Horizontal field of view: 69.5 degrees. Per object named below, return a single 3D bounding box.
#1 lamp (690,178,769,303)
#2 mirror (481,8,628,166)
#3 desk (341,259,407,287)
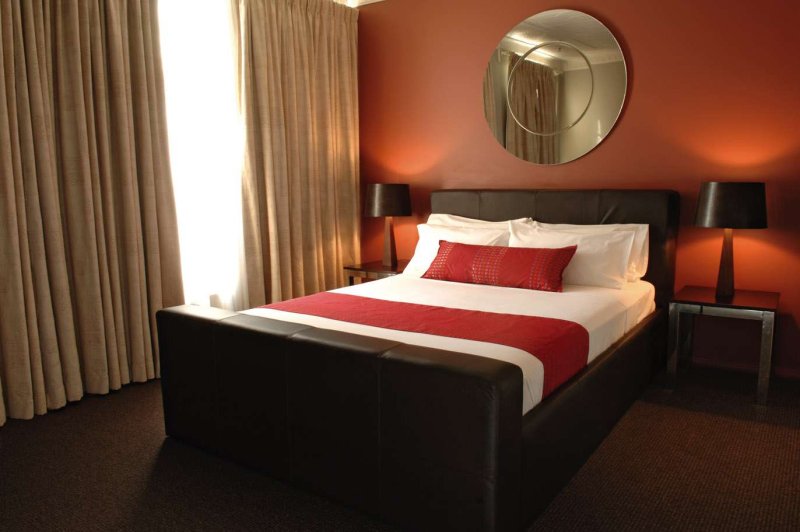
[{"bbox_3d":[2.526,-0.202,4.348,0.516,0.854,0.410,-4,15,-17],"label":"lamp"},{"bbox_3d":[1.399,-1.594,5.038,1.491,1.502,0.062,2,10,36],"label":"mirror"},{"bbox_3d":[-0.231,0.041,5.655,0.332,0.319,0.336,9,16,33],"label":"desk"}]
